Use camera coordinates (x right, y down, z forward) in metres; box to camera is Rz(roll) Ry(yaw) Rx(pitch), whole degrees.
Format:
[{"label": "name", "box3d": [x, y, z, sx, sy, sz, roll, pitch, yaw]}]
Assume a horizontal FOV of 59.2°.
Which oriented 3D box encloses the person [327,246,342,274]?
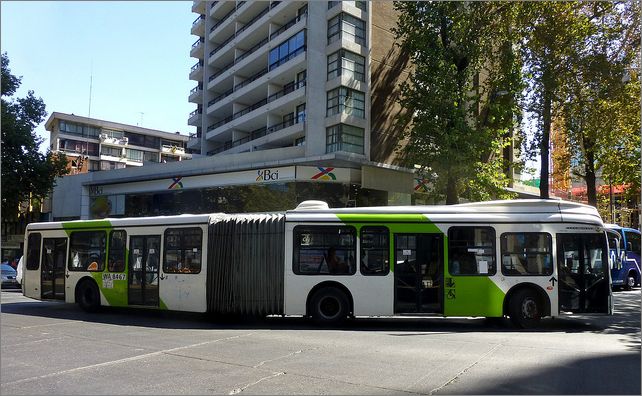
[{"label": "person", "box3d": [0.522, 2.517, 22.518, 0.450, 0.983, 0.318, 0, 10, 0]}]
